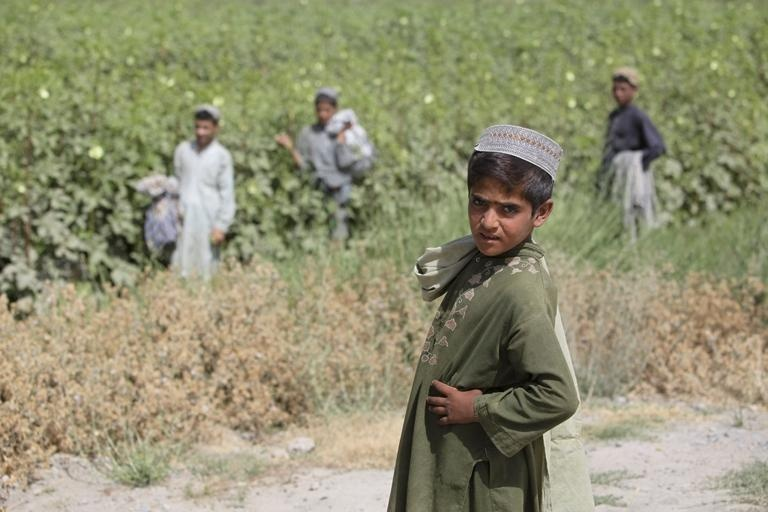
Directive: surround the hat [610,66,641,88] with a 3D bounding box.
[{"bbox_3d":[2.271,-1.681,13.472,0.193,0.209,0.180,-1,19,-12],"label":"hat"}]
